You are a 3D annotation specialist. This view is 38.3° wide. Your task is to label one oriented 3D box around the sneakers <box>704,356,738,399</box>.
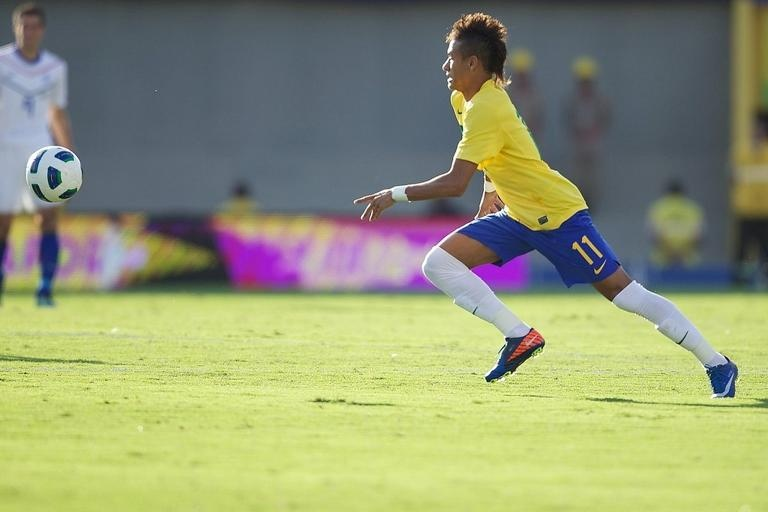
[{"bbox_3d":[2.495,0.881,8.176,0.175,0.365,0.129,-6,1,-12],"label":"sneakers"}]
